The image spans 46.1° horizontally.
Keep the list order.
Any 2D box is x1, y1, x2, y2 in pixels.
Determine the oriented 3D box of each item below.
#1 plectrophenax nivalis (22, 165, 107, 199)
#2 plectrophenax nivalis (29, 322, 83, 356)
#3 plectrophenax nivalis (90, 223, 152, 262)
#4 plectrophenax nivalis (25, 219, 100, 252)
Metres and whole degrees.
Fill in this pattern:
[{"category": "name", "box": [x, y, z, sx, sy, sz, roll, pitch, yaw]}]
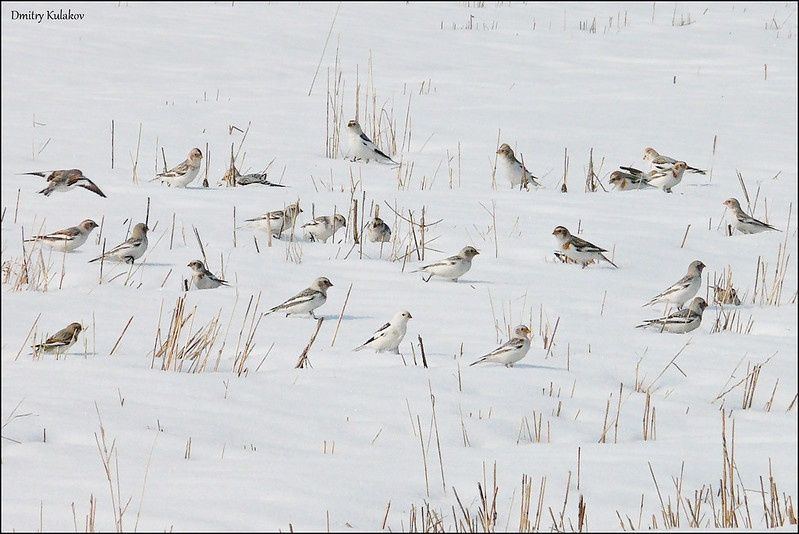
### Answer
[{"category": "plectrophenax nivalis", "box": [-6.370, -1.611, 18.240, 1.265, 0.471, 0.607, -3, 27, -7]}, {"category": "plectrophenax nivalis", "box": [-4.721, 1.003, 13.049, 0.691, 0.405, 0.321, -4, 0, -15]}, {"category": "plectrophenax nivalis", "box": [-4.686, -0.365, 15.741, 1.010, 0.663, 0.452, -6, 3, -8]}, {"category": "plectrophenax nivalis", "box": [-5.638, -0.550, 16.160, 1.364, 0.701, 0.483, 2, -3, -6]}]
